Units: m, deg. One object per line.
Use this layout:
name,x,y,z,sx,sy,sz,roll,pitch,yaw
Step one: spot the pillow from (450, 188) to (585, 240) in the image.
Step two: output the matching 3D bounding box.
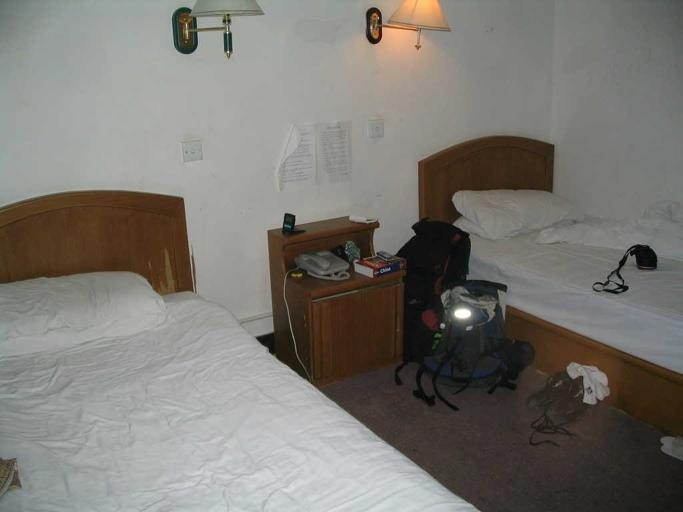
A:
pillow,1.422,-0.382,4.263,0.851,0.217,0.530,-11,38,-23

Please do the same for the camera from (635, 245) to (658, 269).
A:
camera,2.010,0.007,3.398,0.143,0.137,0.112,3,17,16

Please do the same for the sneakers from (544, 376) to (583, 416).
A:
sneakers,1.386,0.873,3.221,0.209,0.231,0.092,-2,-21,30

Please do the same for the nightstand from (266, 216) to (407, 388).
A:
nightstand,-0.043,0.292,3.677,0.718,1.020,0.574,-10,21,-26
